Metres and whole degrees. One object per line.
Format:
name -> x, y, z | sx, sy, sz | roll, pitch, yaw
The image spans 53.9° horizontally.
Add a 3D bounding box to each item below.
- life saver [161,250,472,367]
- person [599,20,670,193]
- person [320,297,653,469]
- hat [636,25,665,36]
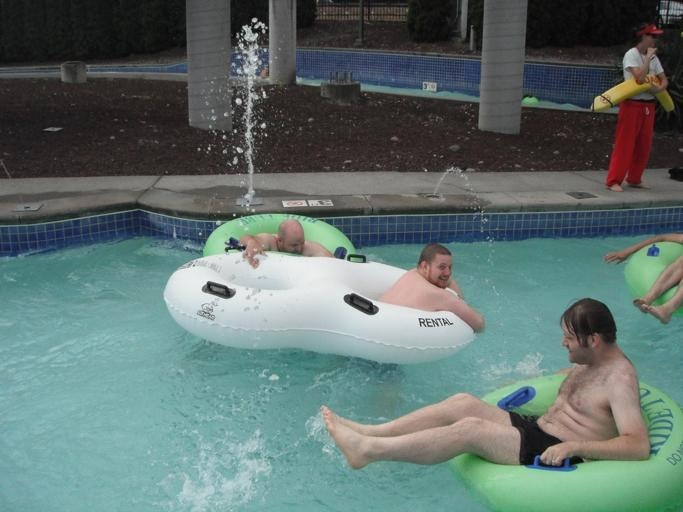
life saver -> -0.213, 0.364, 4.754 | 1.743, 0.421, 0.966 | 6, 13, 3
person -> 3.258, -1.590, 7.299 | 0.456, 1.762, 0.545 | 8, 18, 20
person -> 0.813, 0.790, 3.828 | 1.840, 0.888, 0.963 | -3, 5, 1
hat -> 3.265, -2.363, 7.064 | 0.272, 0.089, 0.174 | 8, 21, 21
